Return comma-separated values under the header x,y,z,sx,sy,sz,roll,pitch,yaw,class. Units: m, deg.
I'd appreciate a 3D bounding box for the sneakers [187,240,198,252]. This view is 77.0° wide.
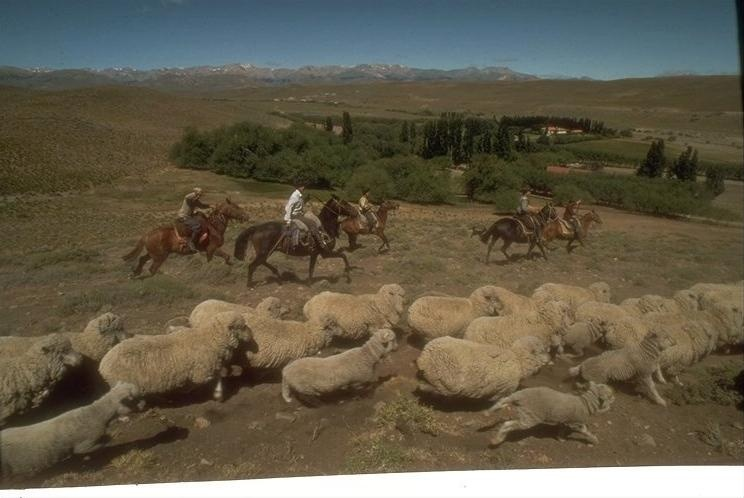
x,y,z,sx,sy,sz,roll,pitch,yaw,class
-4.742,-0.074,12.399,0.311,0.142,0.196,36,4,-28,sneakers

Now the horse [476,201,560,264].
x,y,z,sx,sy,sz,roll,pitch,yaw,class
4.456,-0.416,14.816,3.556,1.594,0.795,-6,6,-23,horse

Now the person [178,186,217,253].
x,y,z,sx,sy,sz,roll,pitch,yaw,class
-4.761,-0.847,12.504,0.587,1.546,0.875,11,24,15,person

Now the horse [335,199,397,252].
x,y,z,sx,sy,sz,roll,pitch,yaw,class
-0.235,-0.614,14.714,2.635,1.527,0.604,-11,10,-32,horse

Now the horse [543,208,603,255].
x,y,z,sx,sy,sz,roll,pitch,yaw,class
6.252,-0.589,15.124,2.284,1.271,0.685,-2,11,-10,horse
